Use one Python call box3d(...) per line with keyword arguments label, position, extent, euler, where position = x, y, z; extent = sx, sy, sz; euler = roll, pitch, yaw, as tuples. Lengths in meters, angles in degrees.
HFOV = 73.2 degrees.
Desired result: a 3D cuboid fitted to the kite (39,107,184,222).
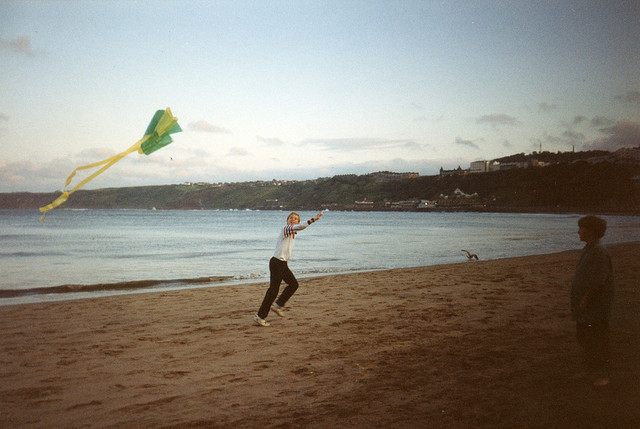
box3d(label="kite", position=(-2.863, -0.656, 5.835), extent=(0.616, 2.099, 0.496), euler=(25, -34, 24))
